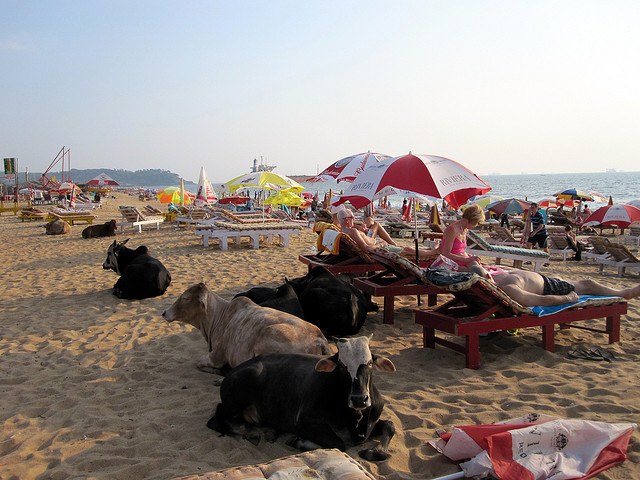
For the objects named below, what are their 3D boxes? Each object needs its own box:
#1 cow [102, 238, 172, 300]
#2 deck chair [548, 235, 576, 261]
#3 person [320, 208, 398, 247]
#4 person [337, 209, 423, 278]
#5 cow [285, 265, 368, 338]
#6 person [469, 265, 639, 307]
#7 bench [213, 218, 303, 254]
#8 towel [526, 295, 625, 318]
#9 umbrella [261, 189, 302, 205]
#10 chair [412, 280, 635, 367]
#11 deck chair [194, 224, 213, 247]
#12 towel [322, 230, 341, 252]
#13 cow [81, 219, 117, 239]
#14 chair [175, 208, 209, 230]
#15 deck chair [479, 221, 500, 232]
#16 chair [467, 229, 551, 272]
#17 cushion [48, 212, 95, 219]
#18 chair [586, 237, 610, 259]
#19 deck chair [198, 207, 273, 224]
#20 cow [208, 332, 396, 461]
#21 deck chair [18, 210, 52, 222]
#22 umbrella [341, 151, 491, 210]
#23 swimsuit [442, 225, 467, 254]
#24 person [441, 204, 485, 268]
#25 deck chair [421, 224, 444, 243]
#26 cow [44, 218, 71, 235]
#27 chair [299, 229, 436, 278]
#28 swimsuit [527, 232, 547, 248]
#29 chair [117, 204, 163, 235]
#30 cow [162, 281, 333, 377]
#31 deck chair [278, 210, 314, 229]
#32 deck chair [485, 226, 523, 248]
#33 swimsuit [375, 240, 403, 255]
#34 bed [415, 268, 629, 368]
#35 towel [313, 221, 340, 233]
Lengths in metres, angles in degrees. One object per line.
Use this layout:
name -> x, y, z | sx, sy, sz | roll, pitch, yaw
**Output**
cow -> -3.940, 0.589, 9.516 | 1.905, 0.755, 1.171 | 16, 19, 28
deck chair -> 8.206, 0.187, 14.967 | 1.271, 0.607, 0.759 | -8, 11, -31
person -> 1.054, -0.173, 9.722 | 2.169, 0.683, 0.636 | 10, 9, -42
person -> 1.592, -0.028, 9.344 | 2.672, 0.817, 0.973 | 9, 9, -16
cow -> 0.021, 0.883, 7.199 | 0.783, 0.756, 1.591 | -9, 26, -30
person -> 3.207, 0.666, 6.209 | 2.147, 0.370, 0.880 | 4, 2, -14
bench -> -2.555, -0.257, 16.138 | 2.912, 0.965, 2.290 | -7, 11, -30
towel -> 3.524, 0.904, 6.158 | 1.413, 0.149, 0.232 | -6, 11, -25
umbrella -> -2.284, -2.592, 27.494 | 2.052, 0.609, 1.772 | -1, 8, 12
chair -> 3.255, 1.033, 6.598 | 3.654, 0.936, 1.223 | -3, 6, -17
deck chair -> -4.185, -0.276, 15.906 | 0.909, 0.866, 1.191 | -2, 4, -9
towel -> 0.261, 0.011, 8.980 | 0.130, 0.295, 0.524 | 0, 4, -15
cow -> -9.526, -0.455, 19.107 | 1.469, 0.644, 0.727 | -11, 14, -42
chair -> -6.563, -1.226, 22.455 | 1.135, 0.948, 1.888 | -1, 11, -38
deck chair -> 8.429, -0.681, 21.699 | 0.974, 0.327, 0.604 | -1, -2, 18
chair -> 4.557, 0.314, 10.985 | 2.161, 0.757, 0.985 | 9, 1, 12
cushion -> -13.739, -1.362, 24.404 | 2.074, 0.328, 0.763 | -7, 11, -31
chair -> 8.330, 0.206, 13.019 | 0.850, 0.639, 0.636 | -2, 4, -20
deck chair -> -3.710, -1.000, 19.329 | 2.560, 0.487, 1.344 | -1, 3, -18
cow -> -0.162, 1.430, 4.303 | 1.805, 0.719, 1.118 | -3, -7, 39
deck chair -> -17.690, -1.469, 27.253 | 1.660, 0.397, 0.498 | 1, 14, -2
umbrella -> 1.900, -1.368, 9.070 | 3.079, 0.762, 2.689 | -2, 14, 8
swimsuit -> 2.285, 0.050, 7.283 | 0.292, 0.394, 0.392 | -4, -3, 39
person -> 2.312, -0.086, 7.123 | 0.646, 0.948, 0.786 | -2, 12, -2
deck chair -> 3.892, -0.120, 14.787 | 0.820, 0.412, 1.018 | 0, 3, 4
cow -> -12.502, -0.638, 20.974 | 1.248, 0.517, 1.475 | -1, 3, -31
chair -> 1.128, 0.278, 9.703 | 2.791, 0.750, 1.618 | 0, 7, -20
swimsuit -> 7.343, 0.033, 14.785 | 0.535, 0.568, 0.852 | 3, -2, -38
chair -> -9.006, -1.026, 22.027 | 1.180, 0.981, 1.745 | 1, 4, 24
cow -> -0.885, 1.082, 5.463 | 2.514, 0.864, 1.011 | 6, 6, 33
deck chair -> -1.592, -1.047, 22.454 | 1.170, 0.682, 1.563 | -1, 1, -36
deck chair -> 7.385, -0.123, 17.391 | 1.953, 0.823, 0.864 | -4, 9, -17
swimsuit -> 1.464, 0.177, 9.090 | 0.445, 0.219, 0.154 | 19, 1, 10
bed -> 2.920, 0.926, 6.410 | 2.911, 0.838, 1.443 | -5, 8, -19
towel -> 0.124, -0.308, 9.807 | 0.364, 0.098, 0.311 | -15, 9, -24
